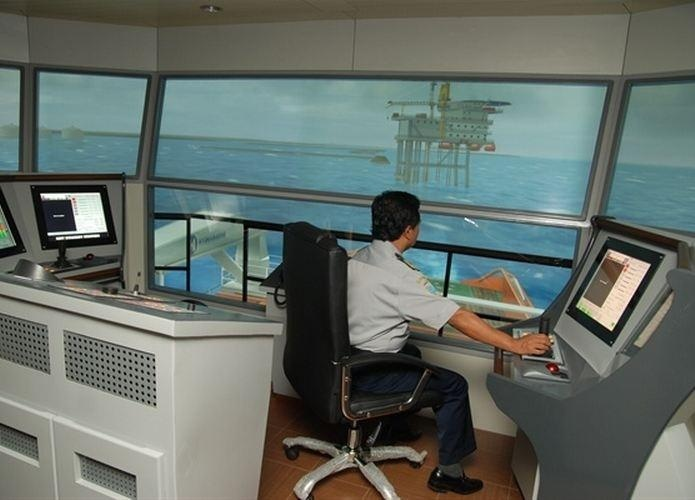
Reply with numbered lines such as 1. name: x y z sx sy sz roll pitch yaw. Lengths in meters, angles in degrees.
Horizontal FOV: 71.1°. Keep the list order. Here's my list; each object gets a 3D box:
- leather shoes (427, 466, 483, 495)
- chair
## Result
1. leather shoes: 0.601 1.322 2.820 0.325 0.131 0.133 -1 3 -4
2. chair: 0.020 0.623 2.671 0.884 1.483 0.555 4 15 -1
